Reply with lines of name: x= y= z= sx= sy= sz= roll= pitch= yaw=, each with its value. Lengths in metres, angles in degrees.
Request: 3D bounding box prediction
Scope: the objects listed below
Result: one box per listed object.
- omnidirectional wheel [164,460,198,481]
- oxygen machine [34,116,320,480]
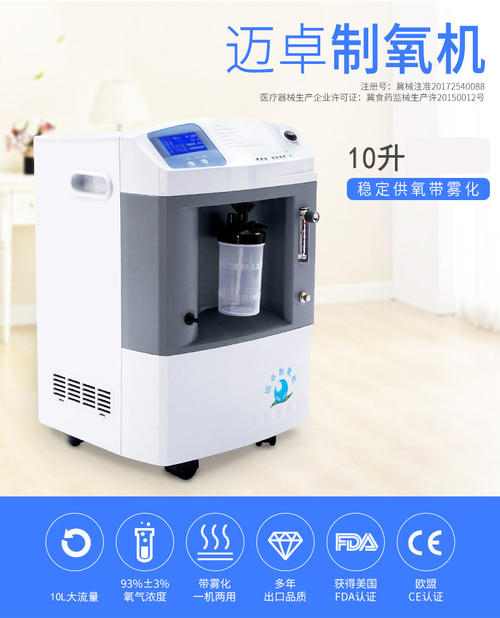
omnidirectional wheel: x=-0.170 y=0.397 z=1.417 sx=0.060 sy=0.053 sz=0.091 roll=17 pitch=-2 yaw=11
oxygen machine: x=-0.153 y=-0.061 z=1.565 sx=0.562 sy=0.864 sz=0.525 roll=-9 pitch=16 yaw=-40
